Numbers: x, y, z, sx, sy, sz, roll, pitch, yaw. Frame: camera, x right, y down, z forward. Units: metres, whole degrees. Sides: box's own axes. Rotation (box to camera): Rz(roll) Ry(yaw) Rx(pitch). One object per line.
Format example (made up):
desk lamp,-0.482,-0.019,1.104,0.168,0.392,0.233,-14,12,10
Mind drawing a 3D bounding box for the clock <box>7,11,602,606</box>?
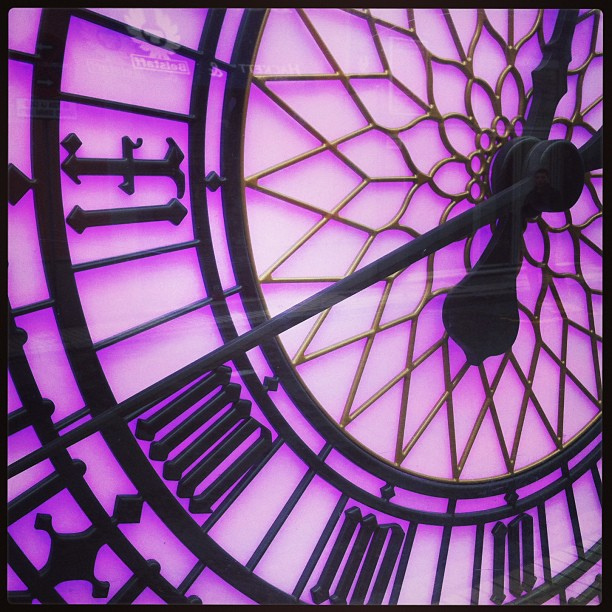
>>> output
clock,-0.045,-0.024,1.458,0.827,0.071,0.870,-19,-76,-16
